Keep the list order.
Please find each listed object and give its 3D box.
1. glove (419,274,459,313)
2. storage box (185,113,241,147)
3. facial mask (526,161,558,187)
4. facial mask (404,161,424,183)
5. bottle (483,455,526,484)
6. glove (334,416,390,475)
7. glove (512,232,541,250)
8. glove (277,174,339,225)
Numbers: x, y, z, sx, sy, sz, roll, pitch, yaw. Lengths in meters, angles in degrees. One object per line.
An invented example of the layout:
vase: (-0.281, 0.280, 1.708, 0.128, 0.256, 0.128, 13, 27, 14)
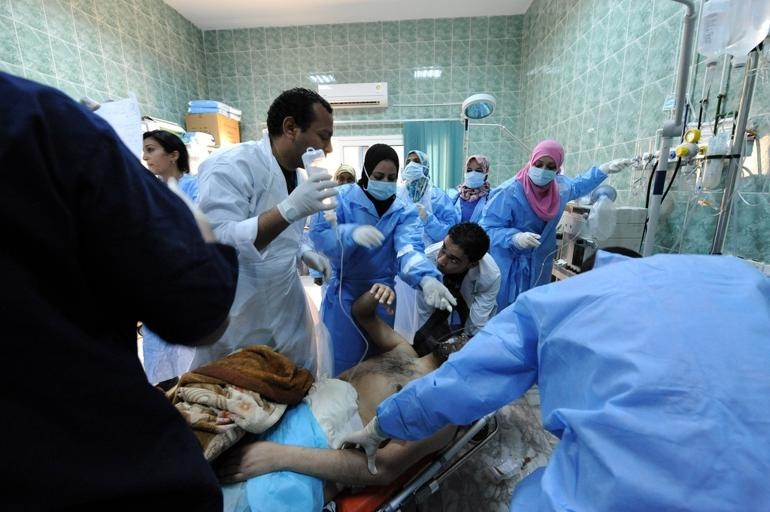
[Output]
glove: (0.231, 0.168, 2.140, 0.120, 0.165, 0.056, -30, -17, -6)
storage box: (-1.980, -1.476, 5.612, 0.308, 0.402, 0.575, -1, 15, 6)
facial mask: (0.964, -0.524, 2.961, 0.131, 0.098, 0.139, 16, 23, 8)
facial mask: (0.188, -0.599, 3.369, 0.114, 0.088, 0.132, 1, 9, 16)
bottle: (0.531, 0.931, 2.105, 0.134, 0.045, 0.080, -16, 18, -21)
glove: (-0.060, 0.695, 1.743, 0.251, 0.169, 0.093, -34, -24, 32)
glove: (0.852, -0.083, 2.915, 0.134, 0.065, 0.106, -13, -30, 35)
glove: (-0.288, -0.186, 1.866, 0.221, 0.077, 0.165, -26, 26, 14)
